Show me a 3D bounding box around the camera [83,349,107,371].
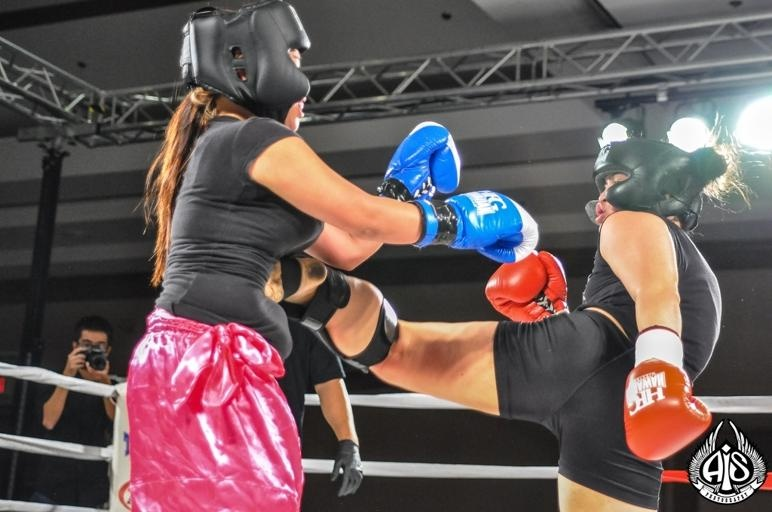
[{"bbox_3d":[-2.270,0.818,5.802,0.180,0.160,0.173,3,-4,-28],"label":"camera"}]

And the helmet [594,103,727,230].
[{"bbox_3d":[1.429,-0.451,4.093,0.635,0.492,0.460,21,-11,14],"label":"helmet"}]
